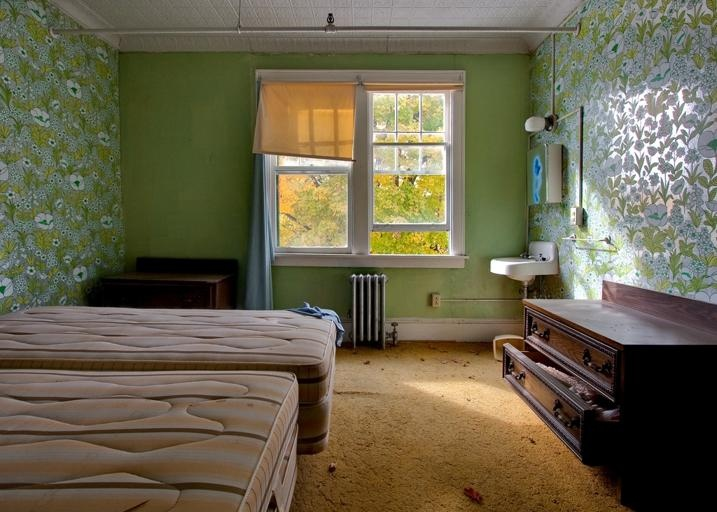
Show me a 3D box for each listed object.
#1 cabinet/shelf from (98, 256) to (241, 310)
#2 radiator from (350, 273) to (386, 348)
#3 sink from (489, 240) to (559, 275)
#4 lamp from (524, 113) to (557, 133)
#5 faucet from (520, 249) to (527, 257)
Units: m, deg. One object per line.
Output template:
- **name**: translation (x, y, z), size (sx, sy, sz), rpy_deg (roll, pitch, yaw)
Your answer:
- **cabinet/shelf**: translation (-1.908, 0.296, 5.245), size (1.249, 0.513, 0.722), rpy_deg (0, 6, 6)
- **radiator**: translation (0.092, 0.541, 5.351), size (0.356, 0.715, 0.247), rpy_deg (-1, 6, -2)
- **sink**: translation (1.609, 0.027, 5.198), size (0.650, 0.330, 0.670), rpy_deg (2, 3, 35)
- **lamp**: translation (1.694, -1.246, 5.053), size (0.243, 0.162, 0.250), rpy_deg (-1, 6, -5)
- **faucet**: translation (1.663, -0.027, 5.420), size (0.065, 0.033, 0.091), rpy_deg (-2, 22, 27)
